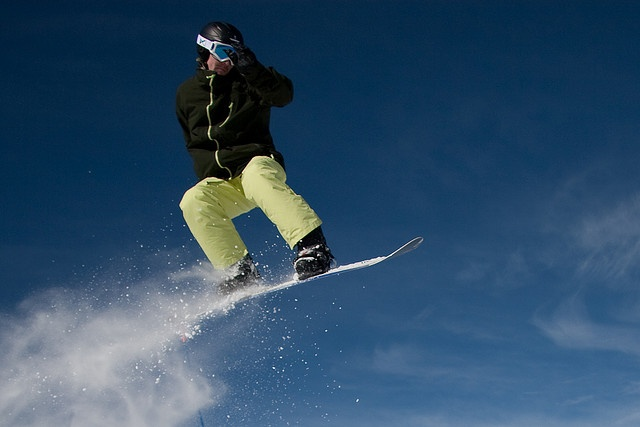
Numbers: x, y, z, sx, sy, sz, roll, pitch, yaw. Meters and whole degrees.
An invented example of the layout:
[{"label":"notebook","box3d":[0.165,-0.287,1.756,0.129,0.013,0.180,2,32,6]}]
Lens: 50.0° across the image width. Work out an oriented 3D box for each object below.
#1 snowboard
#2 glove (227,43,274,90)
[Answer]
[{"label":"snowboard","box3d":[-0.211,0.604,8.123,3.003,0.244,0.326,-17,37,17]},{"label":"glove","box3d":[-0.912,-1.882,8.714,0.516,0.538,0.235,11,35,35]}]
